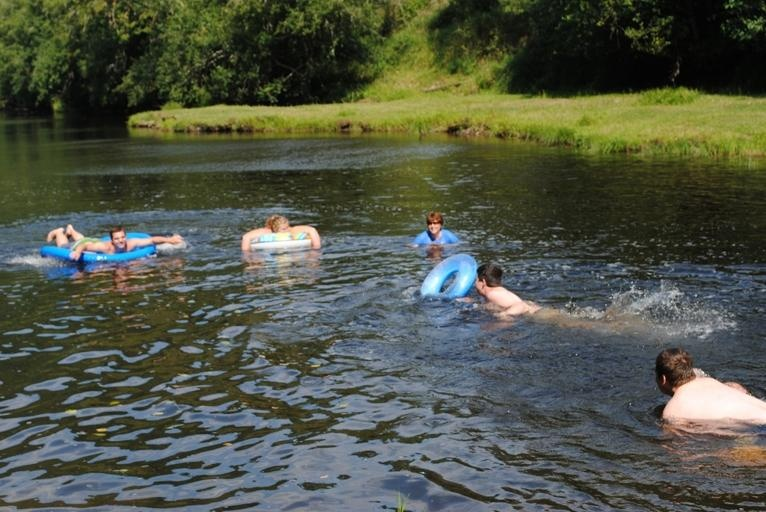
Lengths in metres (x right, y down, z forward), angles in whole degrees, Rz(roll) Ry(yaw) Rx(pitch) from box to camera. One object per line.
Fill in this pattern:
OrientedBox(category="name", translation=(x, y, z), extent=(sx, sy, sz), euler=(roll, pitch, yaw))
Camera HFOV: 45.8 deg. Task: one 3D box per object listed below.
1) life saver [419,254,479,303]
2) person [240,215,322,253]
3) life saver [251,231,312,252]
OrientedBox(category="life saver", translation=(1.512, 0.404, 20.128), extent=(1.231, 0.384, 1.072), euler=(-27, 23, 26))
OrientedBox(category="person", translation=(-2.729, -0.663, 23.617), extent=(1.870, 0.971, 2.014), euler=(1, -3, -18))
OrientedBox(category="life saver", translation=(-2.661, -0.390, 23.450), extent=(1.273, 0.207, 0.596), euler=(-5, 19, 0))
